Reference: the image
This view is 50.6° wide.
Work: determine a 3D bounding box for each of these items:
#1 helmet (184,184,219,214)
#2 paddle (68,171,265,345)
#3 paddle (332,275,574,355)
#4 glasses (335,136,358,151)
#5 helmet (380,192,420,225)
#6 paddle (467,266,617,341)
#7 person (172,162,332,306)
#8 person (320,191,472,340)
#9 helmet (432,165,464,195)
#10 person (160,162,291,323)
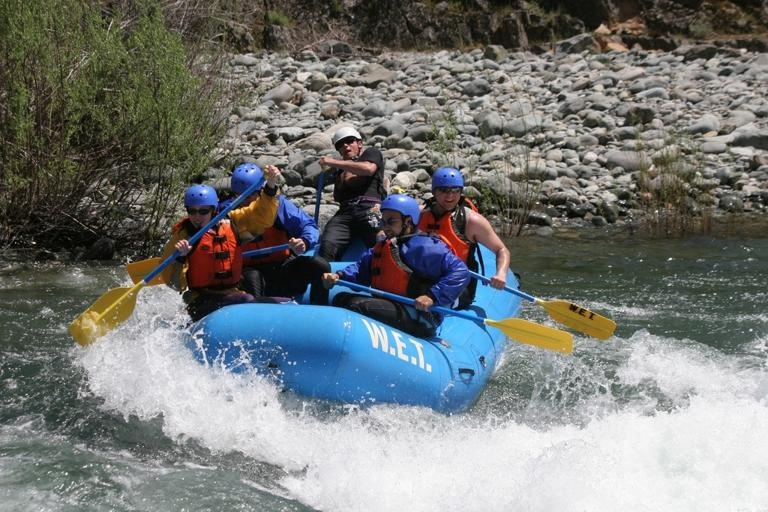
[{"bbox_3d":[-1.735,-0.567,7.680,0.238,0.241,0.280,1,2,2],"label":"helmet"},{"bbox_3d":[-2.337,0.016,8.536,2.494,0.435,0.096,-35,6,-11],"label":"paddle"},{"bbox_3d":[0.575,0.574,7.723,2.521,0.256,0.090,18,-1,-5],"label":"paddle"},{"bbox_3d":[-0.444,-1.257,9.044,0.152,0.102,0.201,-28,4,11],"label":"glasses"},{"bbox_3d":[0.163,-0.460,7.665,0.347,0.243,0.266,-10,21,-17],"label":"helmet"},{"bbox_3d":[1.652,0.483,8.485,0.296,0.133,1.733,-32,31,-27],"label":"paddle"},{"bbox_3d":[-1.410,-0.195,8.394,1.145,1.371,1.786,-18,49,-1],"label":"person"},{"bbox_3d":[0.106,0.072,7.769,1.487,1.282,1.197,8,5,32],"label":"person"},{"bbox_3d":[0.642,-0.785,8.221,0.295,0.227,0.188,-3,9,-6],"label":"helmet"},{"bbox_3d":[-1.536,0.068,7.796,1.160,1.609,1.053,-1,10,19],"label":"person"}]
